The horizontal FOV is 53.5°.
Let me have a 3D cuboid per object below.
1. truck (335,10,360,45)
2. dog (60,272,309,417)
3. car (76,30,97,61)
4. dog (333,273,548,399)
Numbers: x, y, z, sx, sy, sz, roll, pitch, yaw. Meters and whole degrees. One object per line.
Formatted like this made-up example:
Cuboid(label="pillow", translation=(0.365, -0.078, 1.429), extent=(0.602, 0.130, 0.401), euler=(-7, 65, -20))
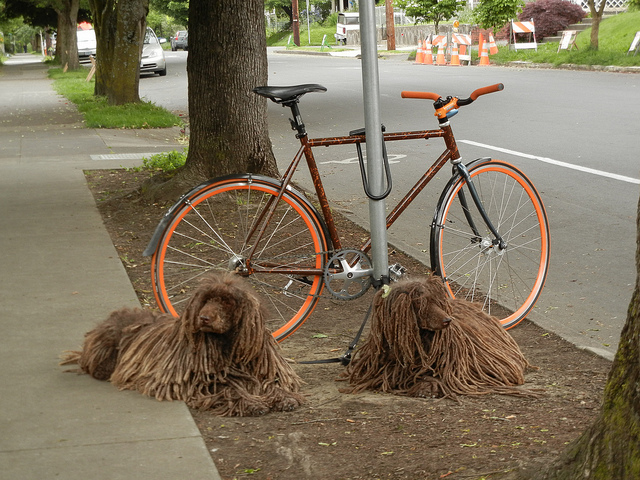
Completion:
Cuboid(label="truck", translation=(2.340, -17.951, 54.134), extent=(1.594, 2.664, 3.046), euler=(-3, 16, -5))
Cuboid(label="dog", translation=(-0.701, 0.515, 3.459), extent=(1.245, 0.722, 0.408), euler=(6, 18, 21))
Cuboid(label="car", translation=(-13.033, -10.802, 35.427), extent=(0.931, 1.629, 2.564), euler=(-7, 17, -18))
Cuboid(label="dog", translation=(0.651, 0.536, 3.572), extent=(1.135, 0.650, 0.466), euler=(-2, 17, -4))
